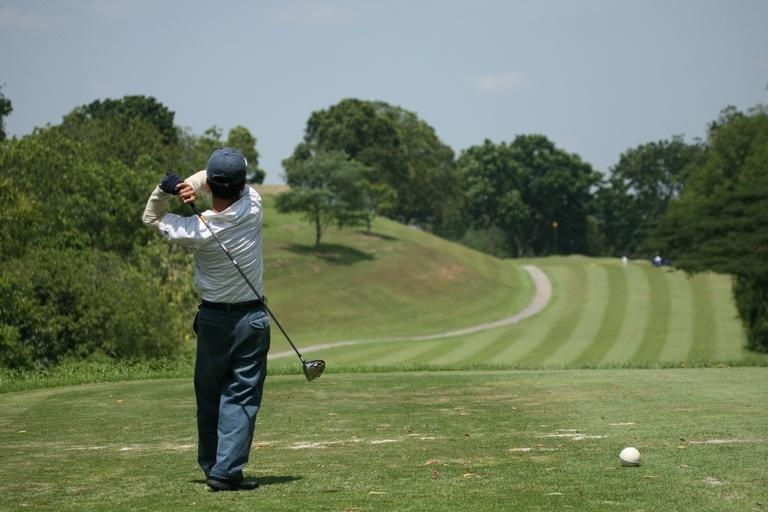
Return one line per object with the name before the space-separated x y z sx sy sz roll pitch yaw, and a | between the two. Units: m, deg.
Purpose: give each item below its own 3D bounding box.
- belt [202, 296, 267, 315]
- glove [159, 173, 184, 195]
belt | -3.968 1.293 26.763 1.668 0.374 0.237 -1 4 0
glove | -5.622 -1.930 26.665 0.578 0.557 0.273 0 5 17
